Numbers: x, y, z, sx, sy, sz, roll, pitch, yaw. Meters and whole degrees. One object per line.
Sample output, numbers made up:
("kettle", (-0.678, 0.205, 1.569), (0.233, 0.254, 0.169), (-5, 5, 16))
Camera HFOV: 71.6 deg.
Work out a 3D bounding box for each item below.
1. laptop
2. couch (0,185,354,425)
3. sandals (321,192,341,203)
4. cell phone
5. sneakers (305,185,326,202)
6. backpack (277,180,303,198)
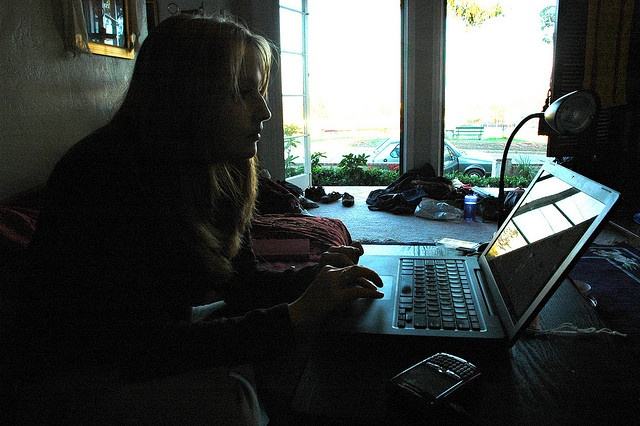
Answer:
("laptop", (0.372, 0.124, 1.069), (0.462, 0.276, 0.467), (3, 16, 12))
("couch", (-0.534, 0.252, 1.690), (0.795, 0.479, 0.759), (-5, 9, -10))
("sandals", (0.131, -0.183, 5.221), (0.279, 0.108, 0.091), (-14, 66, -52))
("cell phone", (0.218, 0.317, 0.843), (0.168, 0.040, 0.084), (-11, 25, -33))
("sneakers", (-0.073, -0.230, 5.253), (0.222, 0.216, 0.155), (-13, 23, -7))
("backpack", (-0.324, -0.226, 4.965), (0.185, 0.087, 0.245), (28, 0, 37))
